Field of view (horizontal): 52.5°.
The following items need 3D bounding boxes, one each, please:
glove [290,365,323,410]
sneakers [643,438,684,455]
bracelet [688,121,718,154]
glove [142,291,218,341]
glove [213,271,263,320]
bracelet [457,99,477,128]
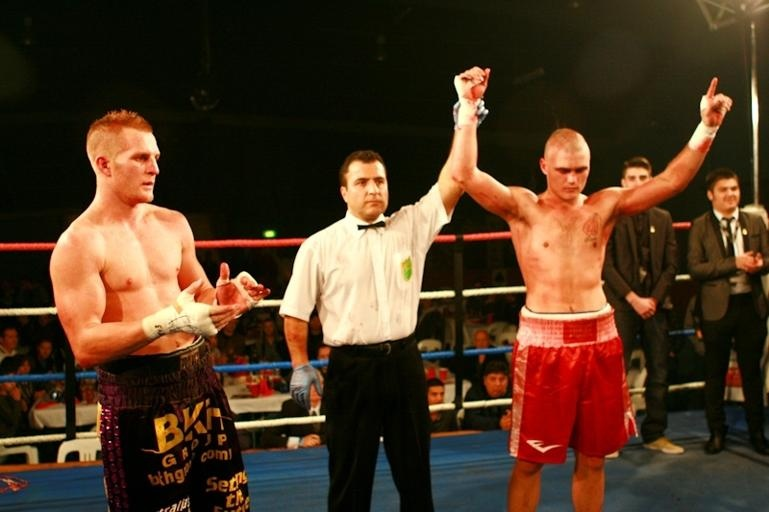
[{"bbox_3d":[-0.626,1.069,6.551,0.285,0.373,0.166,-11,28,24],"label":"glove"},{"bbox_3d":[2.722,1.828,7.548,0.314,0.123,0.149,-2,5,30],"label":"sneakers"},{"bbox_3d":[2.657,-0.998,6.521,0.160,0.296,0.108,38,15,15],"label":"bracelet"},{"bbox_3d":[-1.525,0.471,5.804,0.383,0.164,0.385,16,39,10],"label":"glove"},{"bbox_3d":[-1.116,0.257,5.997,0.411,0.325,0.353,-4,2,-13],"label":"glove"},{"bbox_3d":[0.677,-1.154,6.388,0.137,0.235,0.086,7,1,8],"label":"bracelet"}]
